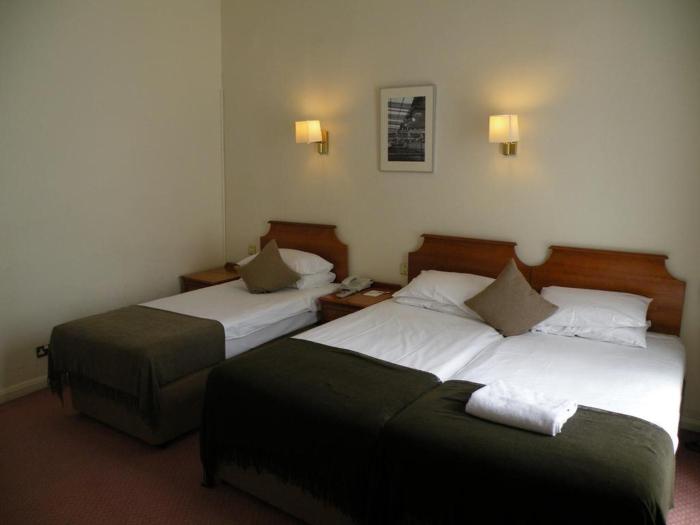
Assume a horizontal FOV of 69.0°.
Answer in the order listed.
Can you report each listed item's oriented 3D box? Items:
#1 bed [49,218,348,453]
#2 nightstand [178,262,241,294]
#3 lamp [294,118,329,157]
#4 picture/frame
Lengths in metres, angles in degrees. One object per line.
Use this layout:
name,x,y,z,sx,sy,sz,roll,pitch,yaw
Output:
bed,-1.178,0.456,4.566,1.254,1.431,2.400,7,12,31
nightstand,-1.402,0.143,5.342,0.342,0.311,0.455,8,15,34
lamp,-0.346,-1.225,5.024,0.260,0.333,0.167,-13,17,-36
picture/frame,0.522,-1.231,4.564,0.689,0.999,0.074,6,13,28
